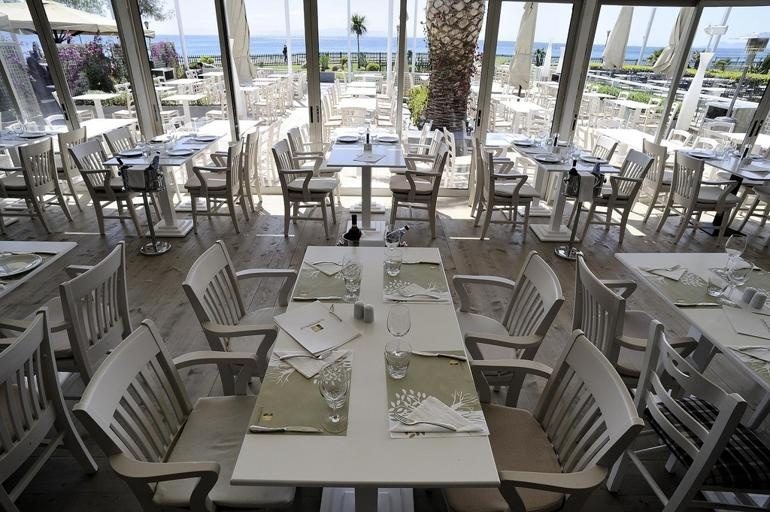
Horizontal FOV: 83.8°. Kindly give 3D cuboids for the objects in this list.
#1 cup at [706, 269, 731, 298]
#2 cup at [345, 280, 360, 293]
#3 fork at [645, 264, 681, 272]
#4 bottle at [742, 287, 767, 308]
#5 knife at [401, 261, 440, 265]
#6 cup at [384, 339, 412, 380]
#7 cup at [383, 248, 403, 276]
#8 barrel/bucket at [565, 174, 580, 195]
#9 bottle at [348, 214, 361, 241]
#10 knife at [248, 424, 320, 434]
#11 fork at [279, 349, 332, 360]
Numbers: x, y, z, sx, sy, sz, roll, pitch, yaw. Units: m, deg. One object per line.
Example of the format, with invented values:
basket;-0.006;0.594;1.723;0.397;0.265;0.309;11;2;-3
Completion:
cup;2.413;0.203;3.081;0.134;0.170;0.137;0;29;0
cup;-0.231;0.199;2.945;0.102;0.066;0.070;0;26;-1
fork;2.109;0.090;3.236;0.223;0.035;0.040;-1;57;2
bottle;2.554;0.285;2.944;0.152;0.094;0.127;-18;31;-33
knife;0.273;0.050;3.217;0.267;0.013;0.033;1;26;1
cup;0.069;0.583;2.435;0.145;0.155;0.155;0;26;0
cup;0.055;0.040;3.157;0.122;0.176;0.197;0;33;0
barrel/bucket;2.093;-0.774;4.758;0.116;0.215;0.206;-6;25;4
bottle;-0.288;-0.269;3.669;0.126;0.227;0.246;-2;26;-5
knife;-0.514;0.881;2.188;0.376;0.026;0.034;0;26;0
fork;-0.478;0.581;2.509;0.320;0.025;0.057;0;26;-1
